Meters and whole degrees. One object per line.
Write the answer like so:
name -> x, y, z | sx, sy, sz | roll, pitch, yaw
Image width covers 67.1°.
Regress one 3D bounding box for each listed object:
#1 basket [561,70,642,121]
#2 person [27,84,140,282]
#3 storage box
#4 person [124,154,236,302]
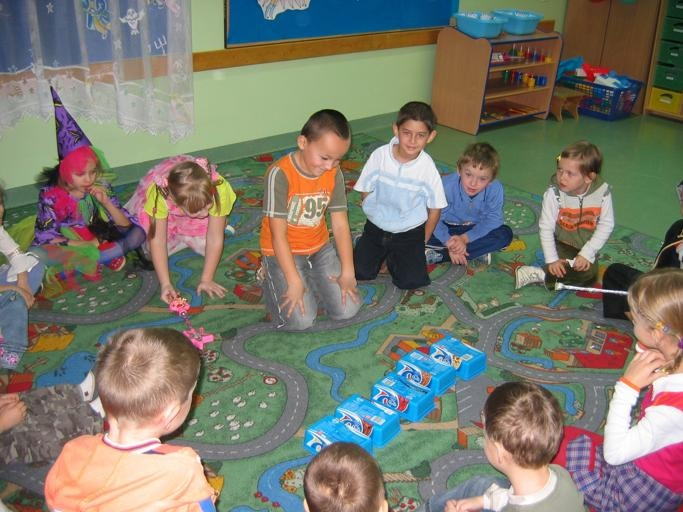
basket -> 2.696, -1.695, 5.544 | 0.718, 0.341, 0.500 | 28, 40, 36
person -> -1.357, -0.351, 2.836 | 0.567, 0.879, 0.563 | 4, 27, -21
storage box -> 2.694, -1.771, 5.528 | 0.729, 0.339, 0.504 | 29, 42, 35
person -> -0.880, -0.198, 2.823 | 0.557, 0.831, 0.870 | -6, 55, -24
